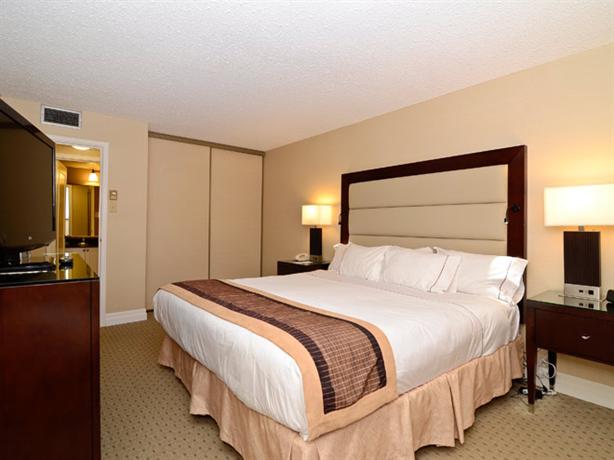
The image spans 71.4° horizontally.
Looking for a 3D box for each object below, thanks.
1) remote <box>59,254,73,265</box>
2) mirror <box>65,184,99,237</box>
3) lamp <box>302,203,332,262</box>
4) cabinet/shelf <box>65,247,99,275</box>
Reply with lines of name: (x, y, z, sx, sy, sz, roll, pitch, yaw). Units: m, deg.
remote: (-1.698, 0.214, 3.041, 0.118, 0.035, 0.115, -1, 7, -45)
mirror: (-3.474, -0.301, 6.599, 0.548, 0.781, 0.217, -9, 12, -40)
lamp: (0.143, 0.036, 5.645, 0.369, 0.746, 0.384, 4, 11, 28)
cabinet/shelf: (-3.041, 0.399, 5.793, 0.411, 0.173, 1.292, -6, 10, -28)
